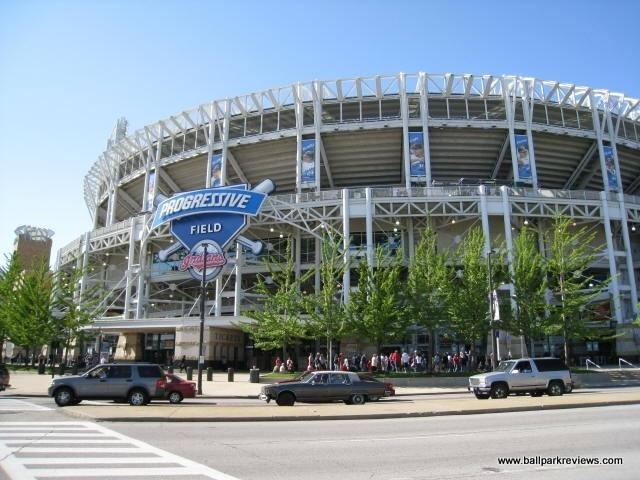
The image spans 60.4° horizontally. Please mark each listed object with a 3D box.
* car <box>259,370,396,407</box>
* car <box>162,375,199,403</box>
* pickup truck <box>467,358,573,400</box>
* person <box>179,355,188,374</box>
[{"bbox_3d":[0.316,6.770,24.517,4.911,1.104,2.013,4,-19,-7],"label":"car"},{"bbox_3d":[-6.569,7.051,25.794,1.721,0.727,0.934,6,-14,-5],"label":"car"},{"bbox_3d":[9.639,6.935,26.880,4.351,1.583,2.161,5,-22,-9],"label":"pickup truck"},{"bbox_3d":[-11.406,10.446,46.169,0.618,1.392,1.806,5,-16,-12],"label":"person"}]
